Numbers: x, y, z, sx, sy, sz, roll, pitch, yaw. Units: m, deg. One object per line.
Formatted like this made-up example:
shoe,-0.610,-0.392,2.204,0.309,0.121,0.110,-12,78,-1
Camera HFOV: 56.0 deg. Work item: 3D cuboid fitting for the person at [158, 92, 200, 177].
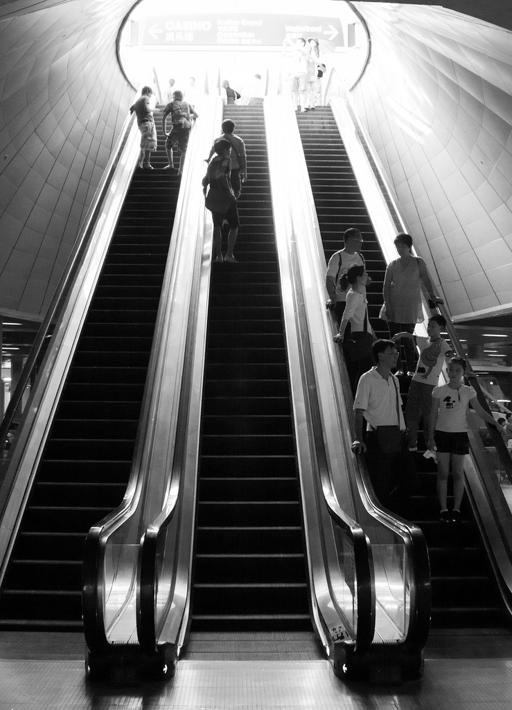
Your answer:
person,-1.647,-4.839,10.200,0.667,1.401,2.942,-3,28,-10

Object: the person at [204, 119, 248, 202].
person,-0.383,-2.728,7.240,0.408,1.601,0.349,-5,-10,-3

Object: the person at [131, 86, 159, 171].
person,-2.298,-4.598,9.773,0.468,1.335,1.272,-4,25,-13

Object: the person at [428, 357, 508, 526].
person,1.558,0.682,3.732,0.473,1.198,0.626,20,29,38

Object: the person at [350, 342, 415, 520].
person,0.893,0.510,3.297,0.450,1.114,0.345,15,25,30

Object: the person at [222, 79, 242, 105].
person,-0.800,-8.798,16.015,0.529,0.643,1.331,0,27,-5

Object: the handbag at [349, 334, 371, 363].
handbag,0.966,-0.070,4.455,0.160,0.307,0.135,-2,-15,-2

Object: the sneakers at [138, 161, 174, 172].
sneakers,-2.038,-3.820,9.693,0.535,0.099,0.149,1,37,-6

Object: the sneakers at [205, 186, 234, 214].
sneakers,-0.495,-2.172,6.695,0.223,0.357,0.189,23,48,7
